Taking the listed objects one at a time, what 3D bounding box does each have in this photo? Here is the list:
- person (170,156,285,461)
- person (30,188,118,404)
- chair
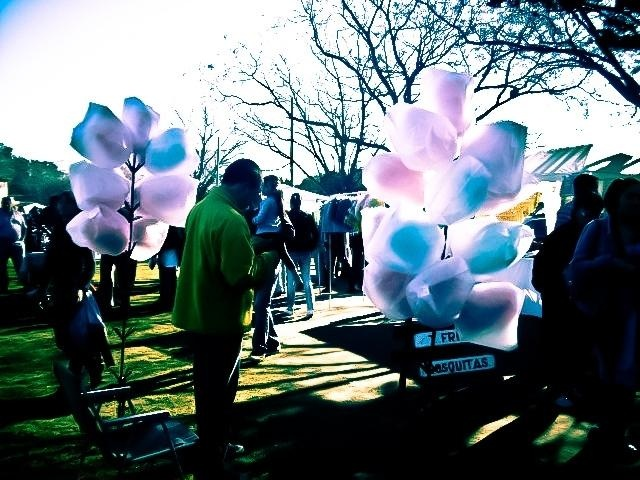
[{"bbox_3d":[-0.722,0.516,4.198,0.804,2.241,0.561,0,8,-2],"label":"person"},{"bbox_3d":[-2.350,0.553,5.362,0.678,1.997,0.486,0,8,-1],"label":"person"},{"bbox_3d":[-1.450,1.209,4.246,1.184,0.988,0.844,-2,3,-27],"label":"chair"}]
